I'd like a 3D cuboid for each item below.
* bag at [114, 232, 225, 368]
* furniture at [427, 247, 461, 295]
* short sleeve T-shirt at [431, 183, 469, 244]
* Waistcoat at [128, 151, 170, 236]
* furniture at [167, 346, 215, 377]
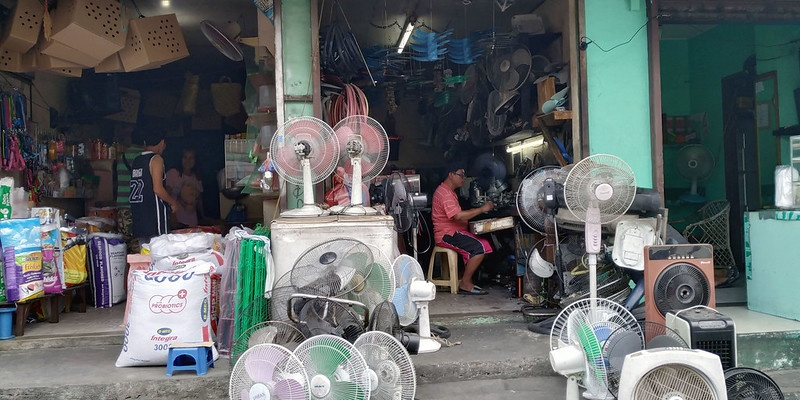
[{"bbox_3d":[-3.440,1.460,9.494,1.457,1.740,0.953,-3,-1,-14],"label":"bag"},{"bbox_3d":[0.858,1.307,11.664,0.796,0.932,0.767,-3,-21,7],"label":"furniture"},{"bbox_3d":[0.911,0.275,11.729,0.763,1.028,1.236,-4,-2,-2],"label":"short sleeve T-shirt"},{"bbox_3d":[-4.464,-0.093,11.325,0.680,1.360,0.265,-3,0,12],"label":"Waistcoat"},{"bbox_3d":[-2.995,2.269,9.142,0.530,0.278,0.490,-1,-10,3],"label":"furniture"}]
